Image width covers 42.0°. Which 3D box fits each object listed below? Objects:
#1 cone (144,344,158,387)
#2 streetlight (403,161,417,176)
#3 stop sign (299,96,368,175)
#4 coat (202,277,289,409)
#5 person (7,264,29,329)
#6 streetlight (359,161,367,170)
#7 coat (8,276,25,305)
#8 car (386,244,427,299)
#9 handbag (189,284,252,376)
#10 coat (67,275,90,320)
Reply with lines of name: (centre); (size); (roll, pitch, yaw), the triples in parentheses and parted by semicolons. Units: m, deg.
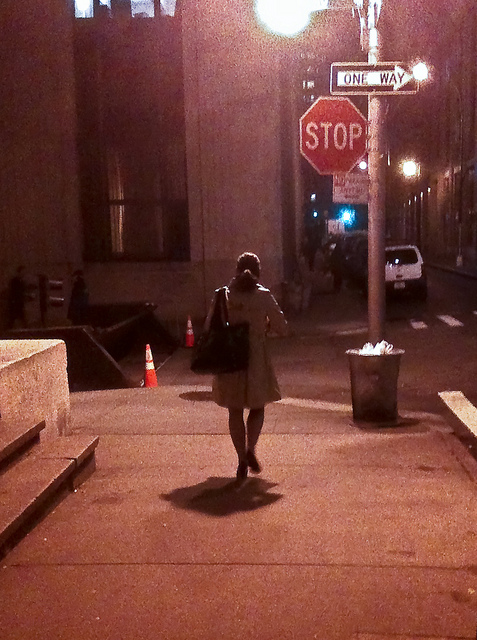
cone: (-1.343, 0.700, 9.469); (0.174, 0.640, 0.737); (-1, 2, -9)
streetlight: (5.693, -4.923, 20.544); (0.089, 0.520, 0.435); (2, 24, -31)
stop sign: (1.354, -2.679, 8.981); (0.970, 1.179, 0.563); (0, 2, 20)
coat: (0.087, 0.183, 4.773); (0.568, 1.000, 0.268); (0, 2, 0)
person: (-5.391, -0.613, 15.266); (0.507, 1.580, 1.658); (-1, 2, -19)
streetlight: (1.750, -2.186, 8.772); (0.104, 0.112, 0.052); (0, 2, 0)
coat: (-5.495, -0.721, 15.339); (0.470, 0.677, 0.472); (0, 2, -3)
car: (5.476, -1.653, 20.694); (0.862, 1.242, 1.960); (-2, 21, 9)
handbag: (-0.124, 0.094, 4.627); (0.447, 0.651, 0.231); (0, 2, 2)
coat: (-3.298, -0.441, 12.820); (0.388, 0.874, 0.424); (-1, 2, -17)
